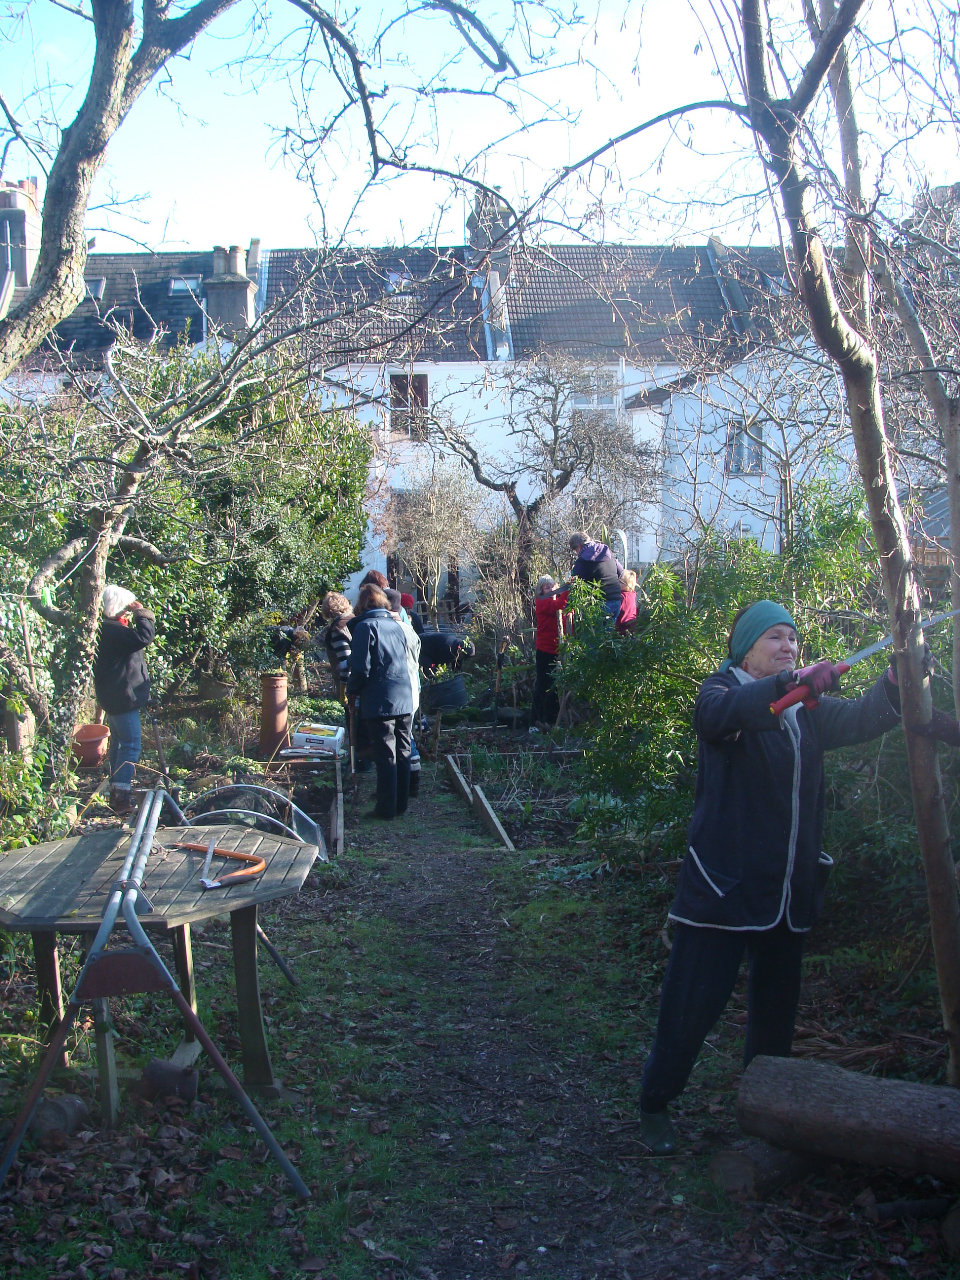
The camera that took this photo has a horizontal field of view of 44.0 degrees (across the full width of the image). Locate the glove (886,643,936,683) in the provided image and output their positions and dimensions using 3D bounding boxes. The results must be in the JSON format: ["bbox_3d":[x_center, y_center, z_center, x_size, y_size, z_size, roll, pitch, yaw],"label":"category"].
[{"bbox_3d":[1.139,0.062,3.138,0.128,0.171,0.066,-1,-1,35],"label":"glove"}]

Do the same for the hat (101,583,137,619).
[{"bbox_3d":[-2.398,-0.263,7.821,0.171,0.208,0.160,4,25,-10],"label":"hat"}]

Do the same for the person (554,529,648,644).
[{"bbox_3d":[1.000,-0.332,10.092,0.445,1.183,0.418,-19,-7,39],"label":"person"}]

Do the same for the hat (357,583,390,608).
[{"bbox_3d":[-0.692,-0.290,7.792,0.136,0.170,0.169,1,0,-21],"label":"hat"}]

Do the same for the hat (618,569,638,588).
[{"bbox_3d":[1.302,-0.561,10.379,0.156,0.212,0.100,-1,-24,-5],"label":"hat"}]

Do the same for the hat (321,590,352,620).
[{"bbox_3d":[-1.118,-0.279,9.130,0.198,0.225,0.224,14,-35,-40],"label":"hat"}]

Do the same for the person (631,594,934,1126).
[{"bbox_3d":[0.829,0.691,3.400,0.563,1.592,0.597,1,5,-12],"label":"person"}]

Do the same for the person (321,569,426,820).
[{"bbox_3d":[-0.638,0.396,7.700,0.443,1.466,0.367,2,5,-6],"label":"person"}]

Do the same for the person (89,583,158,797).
[{"bbox_3d":[-2.352,0.330,7.812,0.367,1.350,1.454,1,5,-16],"label":"person"}]

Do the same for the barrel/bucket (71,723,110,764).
[{"bbox_3d":[-2.745,0.703,8.348,0.233,0.178,0.236,5,27,-3],"label":"barrel/bucket"}]

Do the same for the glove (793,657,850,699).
[{"bbox_3d":[0.905,0.113,3.077,0.037,0.102,0.101,33,-12,-36],"label":"glove"}]

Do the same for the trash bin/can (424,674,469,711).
[{"bbox_3d":[-0.286,0.438,9.852,0.371,0.267,0.366,7,-8,-42],"label":"trash bin/can"}]
